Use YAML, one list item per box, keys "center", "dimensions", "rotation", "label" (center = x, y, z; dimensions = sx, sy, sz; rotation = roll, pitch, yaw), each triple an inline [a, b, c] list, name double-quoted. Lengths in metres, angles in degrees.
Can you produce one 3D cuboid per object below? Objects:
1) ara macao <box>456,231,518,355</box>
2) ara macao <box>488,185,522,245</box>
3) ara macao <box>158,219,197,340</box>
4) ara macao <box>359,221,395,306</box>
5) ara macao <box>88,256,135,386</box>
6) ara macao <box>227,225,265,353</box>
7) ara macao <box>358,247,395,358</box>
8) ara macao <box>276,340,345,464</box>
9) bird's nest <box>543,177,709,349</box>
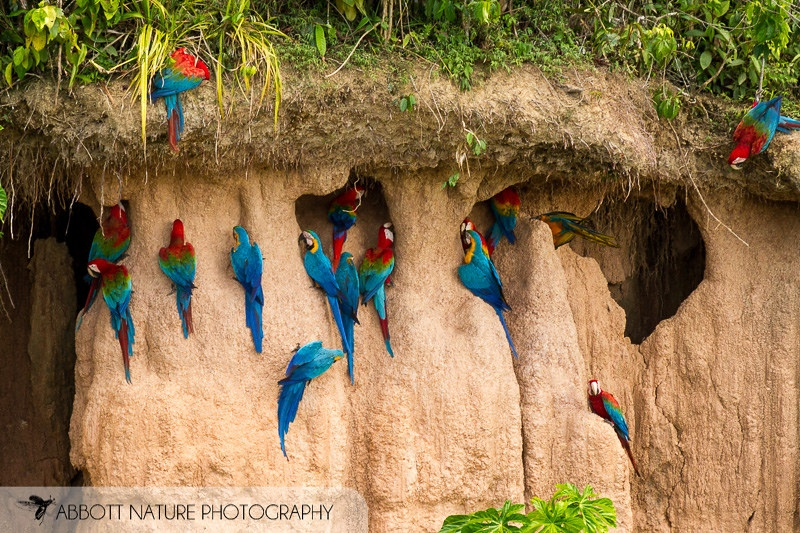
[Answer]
- center: [0.677, 0.241, 11.176]
  dimensions: [0.240, 0.950, 0.567]
  rotation: [-27, 39, -14]
  label: "ara macao"
- center: [0.842, -0.433, 11.349]
  dimensions: [0.168, 0.616, 0.284]
  rotation: [-17, 34, -32]
  label: "ara macao"
- center: [-1.669, 0.086, 10.734]
  dimensions: [0.265, 0.639, 0.531]
  rotation: [-22, 52, -40]
  label: "ara macao"
- center: [-0.181, -0.019, 11.094]
  dimensions: [0.249, 0.453, 0.527]
  rotation: [22, 38, 8]
  label: "ara macao"
- center: [-2.186, 0.312, 10.730]
  dimensions: [0.360, 1.133, 0.271]
  rotation: [-4, 8, -2]
  label: "ara macao"
- center: [-1.150, 0.192, 10.805]
  dimensions: [0.236, 1.005, 0.361]
  rotation: [-4, -1, 26]
  label: "ara macao"
- center: [-0.213, 0.243, 11.122]
  dimensions: [0.321, 0.983, 0.231]
  rotation: [-2, 9, -25]
  label: "ara macao"
- center: [-0.737, 0.962, 10.907]
  dimensions: [0.382, 1.172, 0.252]
  rotation: [10, 40, -13]
  label: "ara macao"
- center: [1.964, 0.075, 11.878]
  dimensions: [1.090, 1.490, 0.535]
  rotation: [-17, 3, 16]
  label: "bird's nest"
